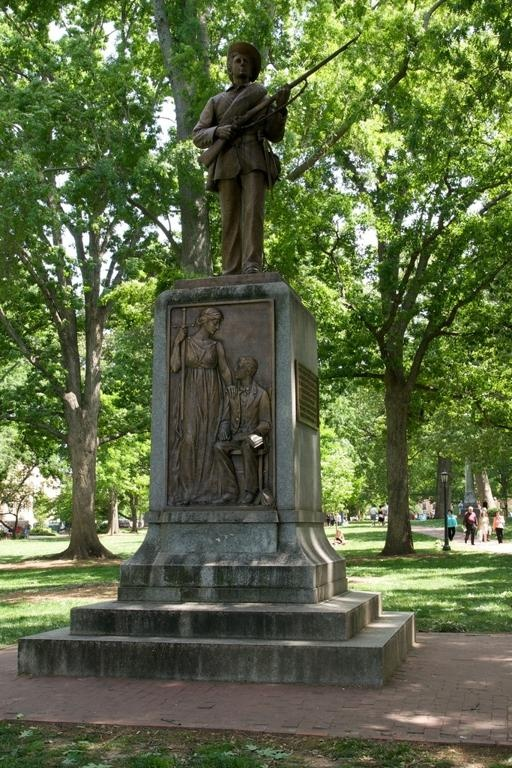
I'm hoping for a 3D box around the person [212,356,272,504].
[{"bbox_3d":[-0.116,0.421,7.543,0.514,1.361,0.332,-1,-10,2],"label":"person"}]

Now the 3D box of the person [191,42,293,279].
[{"bbox_3d":[-0.145,-2.217,8.513,0.995,2.428,0.728,-4,-10,16],"label":"person"}]
